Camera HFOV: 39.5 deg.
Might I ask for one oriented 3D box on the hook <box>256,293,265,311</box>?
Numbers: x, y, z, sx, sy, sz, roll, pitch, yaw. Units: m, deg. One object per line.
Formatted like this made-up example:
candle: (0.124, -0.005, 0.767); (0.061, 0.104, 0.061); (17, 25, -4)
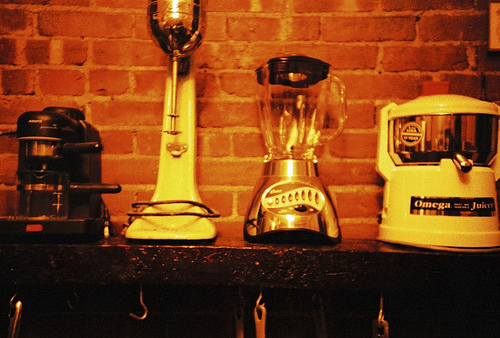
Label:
hook: (0.030, 0.372, 1.963); (0.041, 0.047, 0.014); (3, 3, -5)

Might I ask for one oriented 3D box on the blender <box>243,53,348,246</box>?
blender: (0.143, -0.070, 2.058); (0.280, 0.577, 0.254); (1, -3, 9)

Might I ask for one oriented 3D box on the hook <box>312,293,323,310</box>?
hook: (0.201, 0.397, 2.079); (0.041, 0.059, 0.015); (-2, -2, 5)

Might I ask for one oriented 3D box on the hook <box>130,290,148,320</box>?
hook: (-0.323, 0.406, 2.056); (0.046, 0.116, 0.195); (2, -2, -7)

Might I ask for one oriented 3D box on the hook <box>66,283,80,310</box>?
hook: (-0.536, 0.395, 2.138); (0.036, 0.082, 0.051); (3, -3, -27)

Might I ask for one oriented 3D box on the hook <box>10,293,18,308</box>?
hook: (-0.664, 0.370, 1.965); (0.028, 0.045, 0.029); (12, -12, -10)
